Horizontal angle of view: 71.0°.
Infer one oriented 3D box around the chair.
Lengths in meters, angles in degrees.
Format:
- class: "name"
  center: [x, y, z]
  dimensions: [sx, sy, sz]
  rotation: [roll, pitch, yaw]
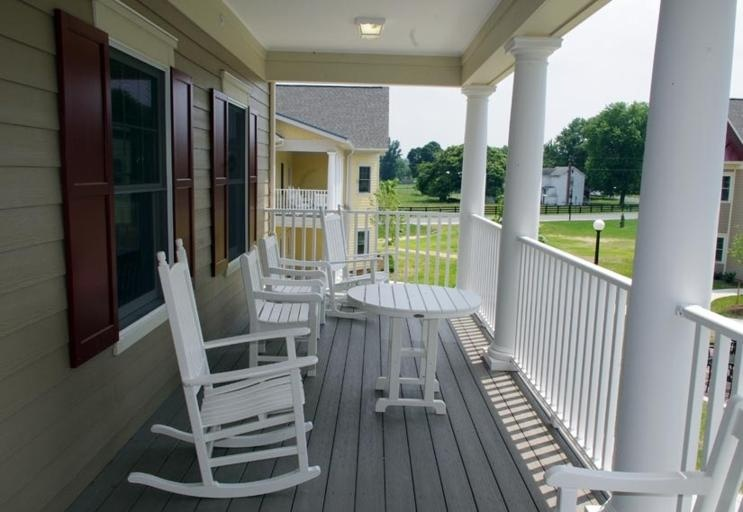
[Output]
- class: "chair"
  center: [-0.690, 0.601, 3.842]
  dimensions: [1.368, 2.113, 1.116]
  rotation: [0, 10, -6]
